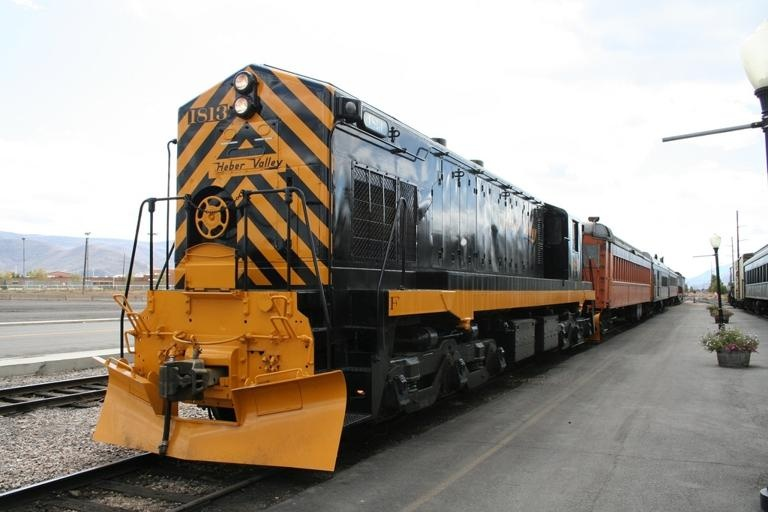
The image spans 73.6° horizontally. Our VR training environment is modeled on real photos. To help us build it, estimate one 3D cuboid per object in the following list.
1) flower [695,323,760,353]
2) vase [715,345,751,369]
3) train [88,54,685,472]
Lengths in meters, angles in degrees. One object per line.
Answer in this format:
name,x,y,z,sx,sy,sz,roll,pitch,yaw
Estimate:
flower,9.192,2.275,13.925,1.035,0.547,1.033,-1,-2,2
vase,9.144,2.628,13.459,0.614,0.313,0.552,0,-5,12
train,1.874,0.199,14.486,4.566,5.582,19.588,1,1,31
